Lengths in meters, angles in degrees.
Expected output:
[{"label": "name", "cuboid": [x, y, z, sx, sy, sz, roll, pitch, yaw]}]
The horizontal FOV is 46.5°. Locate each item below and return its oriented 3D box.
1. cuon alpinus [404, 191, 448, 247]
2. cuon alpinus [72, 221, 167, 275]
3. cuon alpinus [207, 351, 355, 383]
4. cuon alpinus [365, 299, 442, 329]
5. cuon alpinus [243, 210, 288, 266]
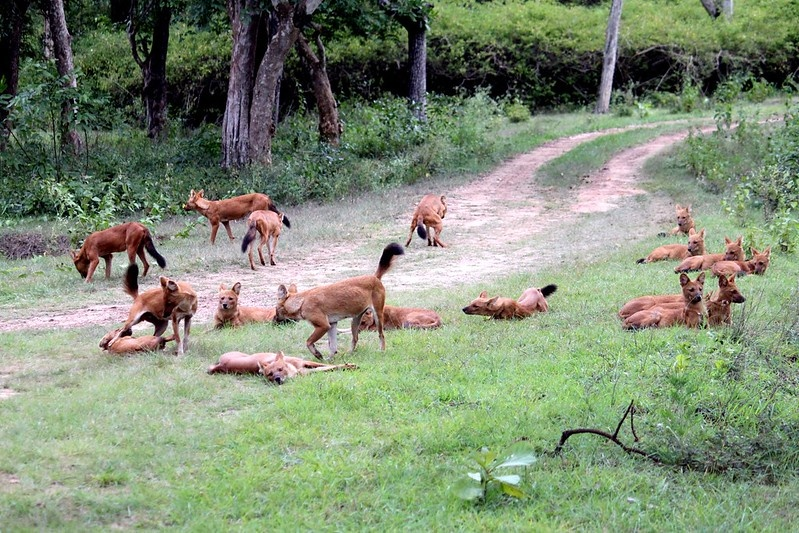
[{"label": "cuon alpinus", "cuboid": [0.720, -1.127, 21.518, 0.800, 1.245, 1.934, 6, 10, 18]}, {"label": "cuon alpinus", "cuboid": [-5.691, -0.261, 18.686, 2.125, 1.181, 0.535, -8, 7, 16]}, {"label": "cuon alpinus", "cuboid": [-1.903, 1.503, 14.232, 2.110, 0.454, 0.607, -2, 8, 1]}, {"label": "cuon alpinus", "cuboid": [0.113, 0.878, 16.273, 0.882, 0.361, 0.594, -1, -9, 15]}, {"label": "cuon alpinus", "cuboid": [-2.940, -0.635, 20.034, 0.686, 1.187, 1.517, -1, 8, 4]}]
